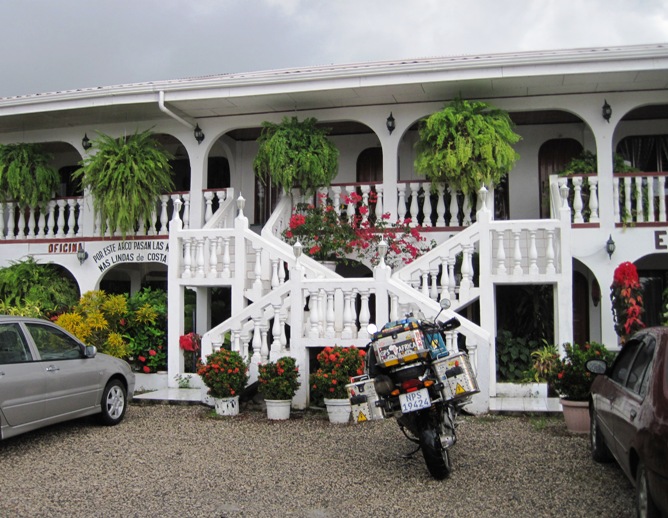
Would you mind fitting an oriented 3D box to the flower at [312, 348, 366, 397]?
[{"bbox_3d":[0.068,1.770,11.686,0.736,0.930,0.761,2,-7,-5],"label":"flower"}]

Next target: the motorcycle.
[{"bbox_3d":[1.078,1.675,9.399,1.343,2.121,0.979,-1,9,2],"label":"motorcycle"}]

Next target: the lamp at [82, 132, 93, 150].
[{"bbox_3d":[-5.759,-2.725,17.223,0.234,0.376,0.593,-5,11,-20],"label":"lamp"}]

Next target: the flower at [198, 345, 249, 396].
[{"bbox_3d":[-1.875,1.906,12.616,0.723,0.922,0.835,0,6,-17],"label":"flower"}]

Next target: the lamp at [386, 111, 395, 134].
[{"bbox_3d":[1.223,-2.932,15.930,0.213,0.457,0.284,-1,10,4],"label":"lamp"}]

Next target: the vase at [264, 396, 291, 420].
[{"bbox_3d":[-0.913,2.450,12.057,0.413,0.377,0.433,-3,10,-6],"label":"vase"}]

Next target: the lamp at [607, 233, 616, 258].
[{"bbox_3d":[5.310,-0.239,14.223,0.180,0.418,0.317,3,11,24],"label":"lamp"}]

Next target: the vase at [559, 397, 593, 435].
[{"bbox_3d":[3.522,2.286,10.767,0.385,0.371,0.433,0,-8,1],"label":"vase"}]

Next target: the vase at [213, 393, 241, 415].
[{"bbox_3d":[-1.800,2.440,12.367,0.306,0.283,0.345,0,-6,-3],"label":"vase"}]

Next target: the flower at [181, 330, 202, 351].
[{"bbox_3d":[-2.840,1.679,14.471,0.325,0.468,0.637,-1,11,1],"label":"flower"}]

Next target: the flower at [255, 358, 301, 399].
[{"bbox_3d":[-0.917,2.072,12.321,0.648,0.823,0.769,2,-14,-6],"label":"flower"}]

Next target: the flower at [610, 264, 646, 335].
[{"bbox_3d":[5.355,0.845,13.501,0.552,1.532,0.910,3,10,22],"label":"flower"}]

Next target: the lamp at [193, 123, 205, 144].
[{"bbox_3d":[-3.086,-2.850,16.814,0.244,0.469,0.181,1,10,14],"label":"lamp"}]

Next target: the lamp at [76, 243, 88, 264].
[{"bbox_3d":[-5.693,-0.106,16.563,0.281,0.430,0.182,2,10,20],"label":"lamp"}]

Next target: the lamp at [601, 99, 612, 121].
[{"bbox_3d":[5.568,-3.031,15.089,0.208,0.409,0.197,0,10,9],"label":"lamp"}]
